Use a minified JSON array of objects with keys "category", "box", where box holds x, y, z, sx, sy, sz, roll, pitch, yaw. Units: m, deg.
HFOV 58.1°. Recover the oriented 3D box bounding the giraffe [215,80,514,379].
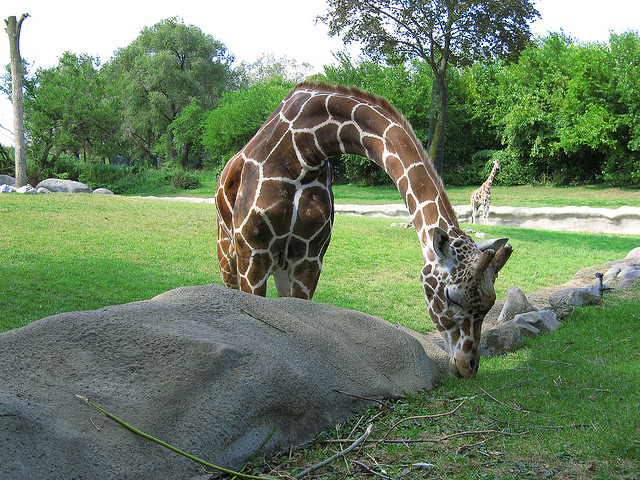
[{"category":"giraffe","box":[0.138,-0.093,5.845,3.613,2.832,1.125,19,15,41]}]
